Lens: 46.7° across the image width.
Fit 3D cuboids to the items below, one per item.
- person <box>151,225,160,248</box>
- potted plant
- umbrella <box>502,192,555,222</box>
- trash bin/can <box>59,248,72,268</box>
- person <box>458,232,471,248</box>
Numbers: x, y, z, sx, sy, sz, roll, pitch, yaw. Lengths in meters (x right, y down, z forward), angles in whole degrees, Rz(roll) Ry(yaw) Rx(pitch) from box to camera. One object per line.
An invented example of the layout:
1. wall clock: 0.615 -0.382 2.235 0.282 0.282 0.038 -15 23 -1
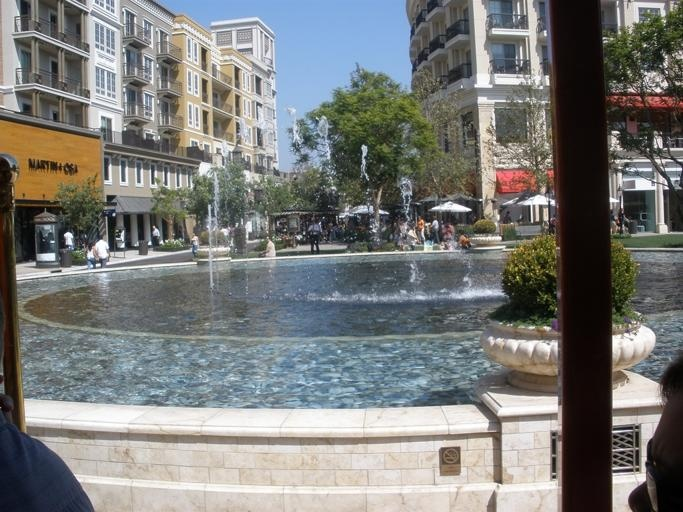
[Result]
1. person: -10.691 -1.083 45.496 0.313 1.143 1.469 -4 1 -15
2. potted plant: 1.791 0.523 6.322 1.264 1.143 1.314 -1 3 17
3. umbrella: 7.808 -2.112 33.881 2.737 0.996 2.733 -1 6 7
4. trash bin/can: -10.580 0.059 30.346 0.560 0.845 0.650 0 2 12
5. person: 5.292 -0.710 34.031 0.513 0.713 1.509 2 8 3
